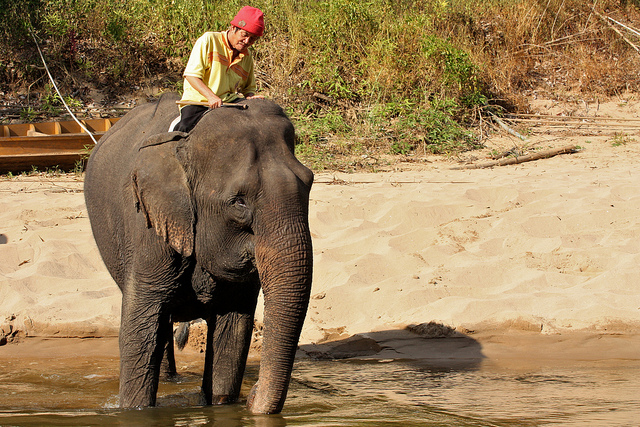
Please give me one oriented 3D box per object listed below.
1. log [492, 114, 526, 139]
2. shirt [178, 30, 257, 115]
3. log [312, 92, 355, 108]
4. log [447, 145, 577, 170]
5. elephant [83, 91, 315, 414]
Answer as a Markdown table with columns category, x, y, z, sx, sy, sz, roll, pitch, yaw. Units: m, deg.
| category | x | y | z | sx | sy | sz | roll | pitch | yaw |
| --- | --- | --- | --- | --- | --- | --- | --- | --- | --- |
| log | 3.402 | -1.611 | 19.211 | 0.986 | 0.150 | 0.114 | 37 | 19 | 33 |
| shirt | -1.126 | -1.593 | 11.852 | 0.595 | 1.111 | 0.795 | 0 | 0 | -1 |
| log | 0.292 | -2.122 | 19.737 | 0.728 | 0.067 | 0.086 | 19 | -20 | 9 |
| log | 3.311 | -0.935 | 17.730 | 2.094 | 0.149 | 0.189 | -10 | 54 | -34 |
| elephant | -1.364 | 0.558 | 12.604 | 2.374 | 3.500 | 5.121 | 0 | 6 | -27 |
